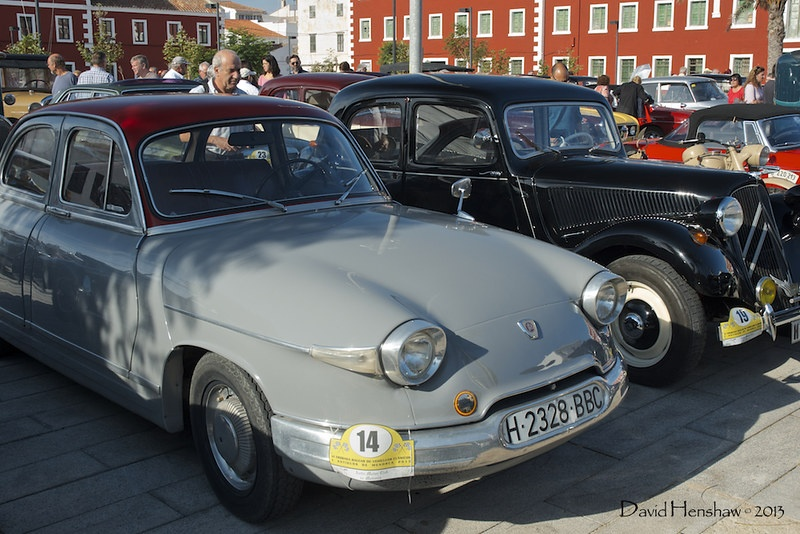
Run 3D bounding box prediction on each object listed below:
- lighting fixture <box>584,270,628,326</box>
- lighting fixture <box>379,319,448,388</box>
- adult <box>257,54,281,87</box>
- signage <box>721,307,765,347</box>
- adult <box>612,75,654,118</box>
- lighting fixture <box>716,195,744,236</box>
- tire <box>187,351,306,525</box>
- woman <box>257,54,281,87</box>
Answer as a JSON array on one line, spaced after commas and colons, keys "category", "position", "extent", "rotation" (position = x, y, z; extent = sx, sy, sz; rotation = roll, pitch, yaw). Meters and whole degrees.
[{"category": "lighting fixture", "position": [1.285, 0.222, 3.918], "extent": [0.409, 0.387, 0.219], "rotation": [1, 0, -29]}, {"category": "lighting fixture", "position": [0.098, 0.451, 3.223], "extent": [0.284, 0.286, 0.279], "rotation": [-5, 18, -8]}, {"category": "adult", "position": [-2.698, -4.040, 12.430], "extent": [0.388, 0.620, 0.632], "rotation": [-6, 14, -14]}, {"category": "signage", "position": [2.836, 0.475, 4.994], "extent": [0.439, 0.271, 0.139], "rotation": [-9, 16, -28]}, {"category": "adult", "position": [6.328, -4.590, 16.698], "extent": [0.803, 1.694, 0.561], "rotation": [20, 58, 16]}, {"category": "lighting fixture", "position": [2.833, -0.438, 5.194], "extent": [0.323, 0.353, 0.123], "rotation": [-9, 7, -37]}, {"category": "tire", "position": [-0.950, 1.025, 3.608], "extent": [0.821, 1.048, 0.178], "rotation": [9, 18, 37]}, {"category": "woman", "position": [-2.697, -4.039, 12.425], "extent": [0.388, 0.620, 0.623], "rotation": [-6, 14, -14]}]
